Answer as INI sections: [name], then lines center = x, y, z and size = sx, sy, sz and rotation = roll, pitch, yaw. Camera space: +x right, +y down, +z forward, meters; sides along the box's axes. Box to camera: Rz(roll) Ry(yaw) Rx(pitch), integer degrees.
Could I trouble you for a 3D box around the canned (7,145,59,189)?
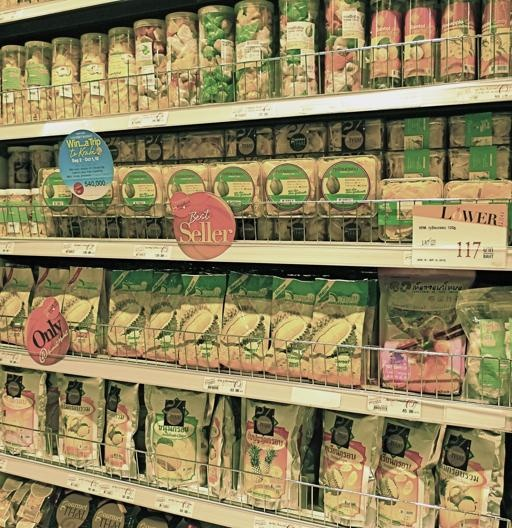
[canned]
center = -0.880, -0.386, 2.269
size = 0.194, 0.174, 0.189
rotation = 0, 3, -16
